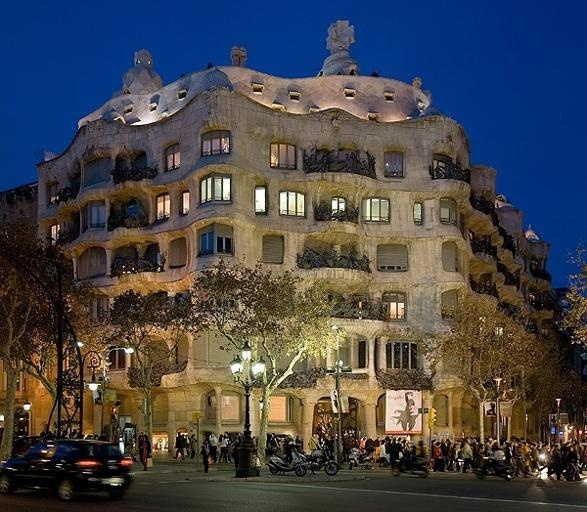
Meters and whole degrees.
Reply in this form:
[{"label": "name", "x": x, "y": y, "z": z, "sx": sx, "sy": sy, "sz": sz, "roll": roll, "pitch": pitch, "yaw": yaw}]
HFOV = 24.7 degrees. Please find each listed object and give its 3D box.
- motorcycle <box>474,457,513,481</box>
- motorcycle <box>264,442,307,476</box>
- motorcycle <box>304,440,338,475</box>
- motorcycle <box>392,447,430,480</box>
[{"label": "motorcycle", "x": 10.866, "y": 11.625, "z": 72.631, "sx": 1.838, "sy": 1.203, "sz": 0.984, "roll": 1, "pitch": -4, "yaw": 38}, {"label": "motorcycle", "x": -0.268, "y": 11.446, "z": 73.261, "sx": 2.105, "sy": 1.460, "sz": 1.094, "roll": -9, "pitch": -17, "yaw": 33}, {"label": "motorcycle", "x": 1.714, "y": 11.478, "z": 74.520, "sx": 1.390, "sy": 1.221, "sz": 2.146, "roll": 5, "pitch": -11, "yaw": -34}, {"label": "motorcycle", "x": 6.528, "y": 11.483, "z": 73.536, "sx": 1.506, "sy": 1.887, "sz": 2.619, "roll": 6, "pitch": -19, "yaw": -20}]
